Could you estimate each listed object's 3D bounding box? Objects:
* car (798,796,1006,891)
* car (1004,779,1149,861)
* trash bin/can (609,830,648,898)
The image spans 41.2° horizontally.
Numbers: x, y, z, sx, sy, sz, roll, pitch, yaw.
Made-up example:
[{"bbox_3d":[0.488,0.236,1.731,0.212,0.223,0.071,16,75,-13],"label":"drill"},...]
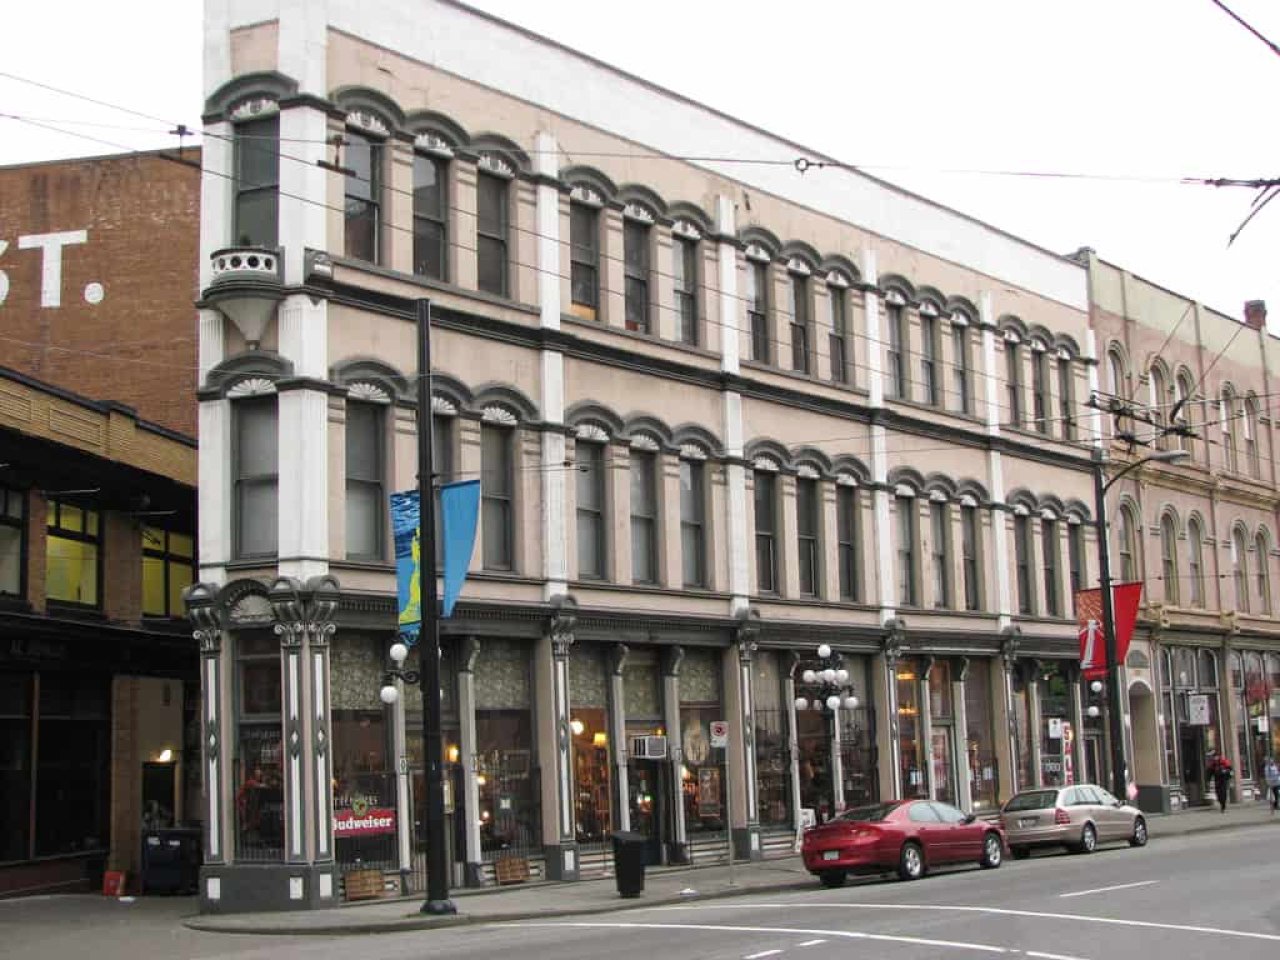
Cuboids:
[{"bbox_3d":[5.696,7.630,36.127,4.377,1.692,1.239,8,-20,-35],"label":"car"},{"bbox_3d":[10.519,8.177,41.058,3.771,1.584,1.083,7,-20,-33],"label":"car"},{"bbox_3d":[-0.164,7.727,34.292,0.611,1.359,0.631,-4,-16,-1],"label":"trash bin/can"}]
